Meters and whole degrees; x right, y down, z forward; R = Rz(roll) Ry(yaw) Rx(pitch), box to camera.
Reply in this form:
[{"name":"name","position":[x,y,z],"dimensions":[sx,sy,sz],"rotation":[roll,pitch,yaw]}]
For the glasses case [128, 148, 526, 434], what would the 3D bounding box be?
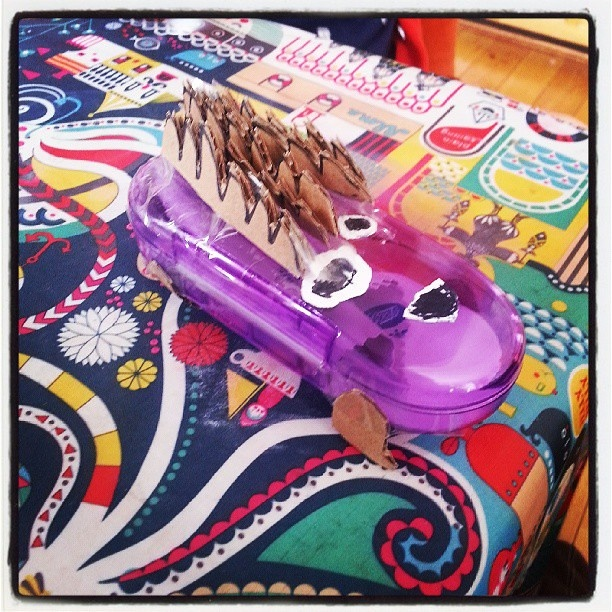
[{"name":"glasses case","position":[0.000,-0.008,0.788],"dimensions":[0.413,0.115,0.192],"rotation":[31,45,16]}]
